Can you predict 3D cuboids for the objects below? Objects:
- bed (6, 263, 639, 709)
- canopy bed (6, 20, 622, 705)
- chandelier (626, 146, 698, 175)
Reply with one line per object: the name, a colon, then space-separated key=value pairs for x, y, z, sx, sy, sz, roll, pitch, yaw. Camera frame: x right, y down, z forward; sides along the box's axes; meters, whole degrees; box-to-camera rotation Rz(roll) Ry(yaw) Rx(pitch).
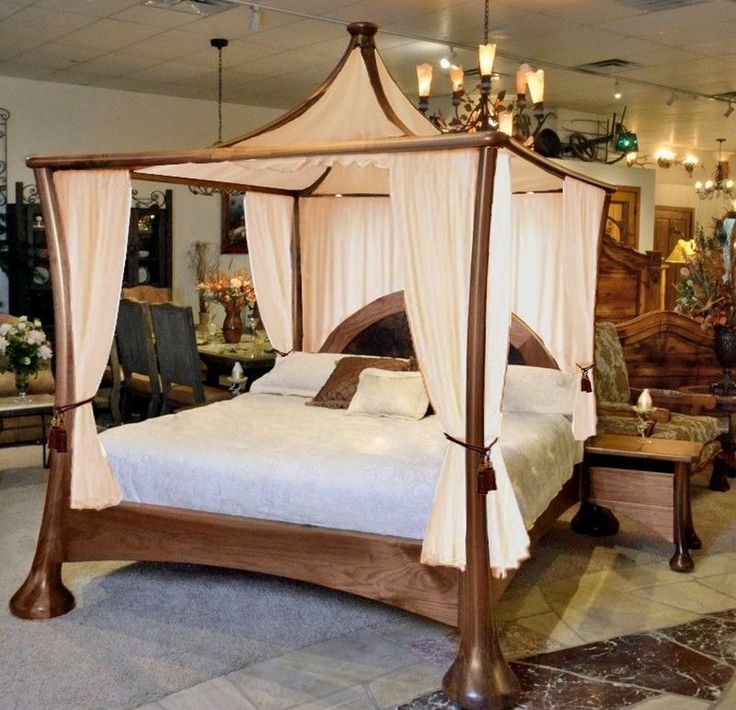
bed: x=-0.015 y=0.521 z=3.792 sx=2.526 sy=1.319 sz=2.604 roll=4 pitch=5 yaw=27
canopy bed: x=0.023 y=0.388 z=3.906 sx=2.678 sy=1.370 sz=2.708 roll=0 pitch=8 yaw=24
chandelier: x=5.740 y=-3.718 z=12.941 sx=0.570 sy=0.514 sz=2.121 roll=5 pitch=5 yaw=42
